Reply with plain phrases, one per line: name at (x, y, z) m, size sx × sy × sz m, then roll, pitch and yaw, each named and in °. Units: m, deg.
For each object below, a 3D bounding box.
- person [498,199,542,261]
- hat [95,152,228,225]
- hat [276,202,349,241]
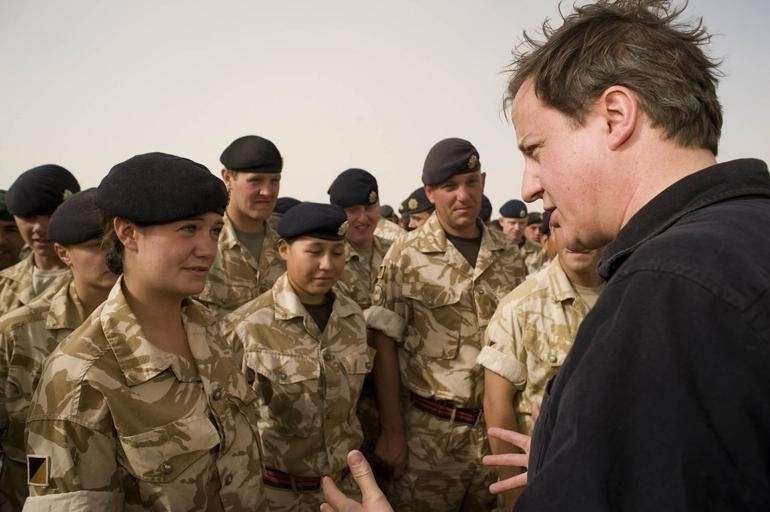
person at (1.912, -0.338, 10.826) m, size 0.759 × 0.947 × 0.532 m, roll -3°, pitch 13°, yaw 3°
hat at (-1.089, -0.305, 3.591) m, size 0.513 × 0.192 × 0.446 m, roll -2°, pitch 19°, yaw -18°
hat at (-0.519, -0.228, 5.055) m, size 0.503 × 0.208 × 0.480 m, roll -4°, pitch -1°, yaw 41°
